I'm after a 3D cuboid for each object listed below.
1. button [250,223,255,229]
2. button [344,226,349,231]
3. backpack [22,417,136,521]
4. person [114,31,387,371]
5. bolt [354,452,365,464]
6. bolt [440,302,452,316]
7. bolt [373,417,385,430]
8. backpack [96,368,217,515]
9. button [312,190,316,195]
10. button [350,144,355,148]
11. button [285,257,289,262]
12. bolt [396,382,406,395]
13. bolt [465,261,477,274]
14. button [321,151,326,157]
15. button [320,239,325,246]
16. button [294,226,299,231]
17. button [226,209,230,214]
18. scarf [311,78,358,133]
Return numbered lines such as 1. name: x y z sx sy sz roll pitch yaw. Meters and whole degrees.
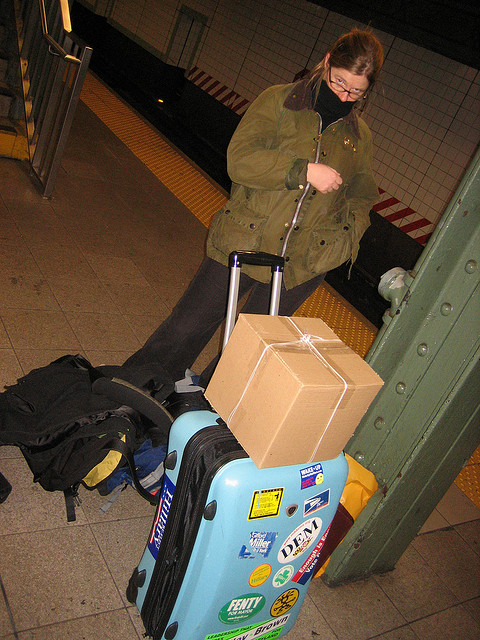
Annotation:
1. button: 0.042 -0.309 1.620 0.019 0.019 0.005 2 -1 0
2. button: 0.368 -0.317 1.710 0.013 0.013 0.003 15 2 -10
3. backpack: -0.515 0.433 1.678 0.153 0.378 0.289 55 -7 45
4. person: 0.085 -0.220 1.775 0.523 1.542 0.491 20 31 -13
5. bolt: 0.412 0.473 1.702 0.031 0.031 0.008 -16 -9 36
6. bolt: 0.585 -0.030 1.405 0.029 0.029 0.018 48 29 24
7. bolt: 0.459 0.340 1.627 0.031 0.037 0.018 0 -2 30
8. backpack: -0.316 0.486 1.879 0.205 0.518 0.362 44 12 -40
9. button: 0.239 -0.412 1.594 0.017 0.014 0.003 12 30 -36
10. button: 0.371 -0.577 1.633 0.011 0.010 0.003 -11 17 -20
11. button: 0.159 -0.205 1.666 0.012 0.012 0.004 1 8 -27
12. bolt: 0.505 0.214 1.554 0.031 0.031 0.008 0 -5 43
13. bolt: 0.627 -0.143 1.341 0.034 0.034 0.009 -1 6 31
14. button: 0.268 -0.531 1.579 0.010 0.013 0.004 2 1 -8
15. button: 0.279 -0.264 1.676 0.016 0.020 0.005 0 3 -2
16. button: 0.184 -0.302 1.624 0.013 0.013 0.004 -1 3 -17
17. button: -0.040 -0.365 1.666 0.002 0.017 0.020 8 32 -43
18. scarf: 0.281 -0.652 1.569 0.116 0.146 0.125 1 -11 -39
